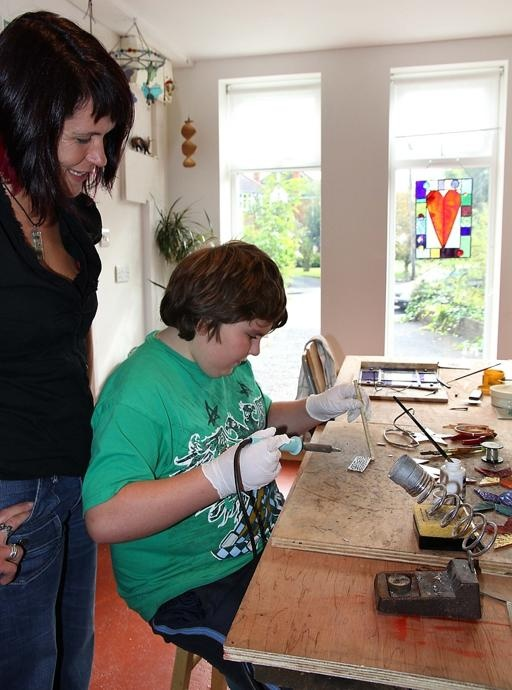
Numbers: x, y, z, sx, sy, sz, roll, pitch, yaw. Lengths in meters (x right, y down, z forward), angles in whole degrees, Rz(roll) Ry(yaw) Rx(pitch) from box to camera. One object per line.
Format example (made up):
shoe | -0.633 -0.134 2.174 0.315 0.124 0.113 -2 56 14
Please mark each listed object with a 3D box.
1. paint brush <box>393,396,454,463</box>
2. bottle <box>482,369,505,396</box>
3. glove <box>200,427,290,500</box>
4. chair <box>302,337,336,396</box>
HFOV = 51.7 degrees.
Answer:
paint brush | 0.481 0.247 1.521 0.019 0.023 0.221 8 33 -47
bottle | 0.946 0.148 2.129 0.094 0.092 0.133 -1 -5 9
glove | -0.014 0.223 0.979 0.052 0.088 0.158 -6 10 39
chair | 0.278 0.103 2.341 0.109 0.399 0.102 -4 28 18
